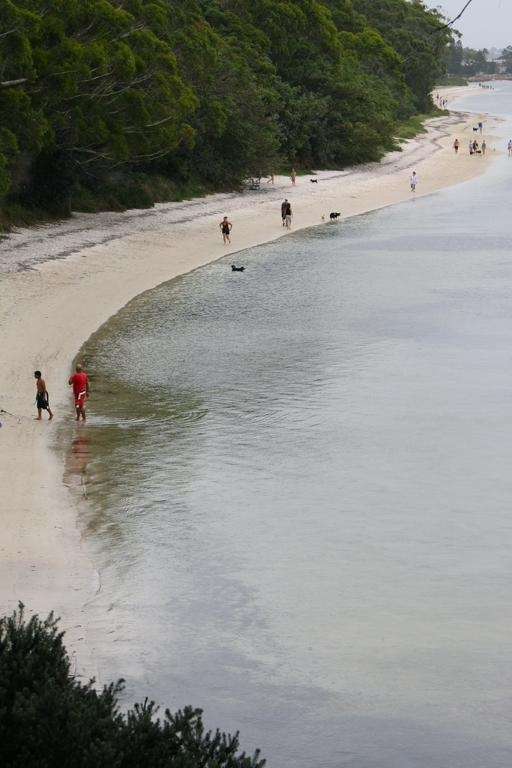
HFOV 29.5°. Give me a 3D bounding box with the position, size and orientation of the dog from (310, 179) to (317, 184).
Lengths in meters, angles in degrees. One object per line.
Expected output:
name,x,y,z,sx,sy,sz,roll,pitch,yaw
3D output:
dog,3.652,-12.923,61.977,0.230,0.402,0.706,6,11,32
